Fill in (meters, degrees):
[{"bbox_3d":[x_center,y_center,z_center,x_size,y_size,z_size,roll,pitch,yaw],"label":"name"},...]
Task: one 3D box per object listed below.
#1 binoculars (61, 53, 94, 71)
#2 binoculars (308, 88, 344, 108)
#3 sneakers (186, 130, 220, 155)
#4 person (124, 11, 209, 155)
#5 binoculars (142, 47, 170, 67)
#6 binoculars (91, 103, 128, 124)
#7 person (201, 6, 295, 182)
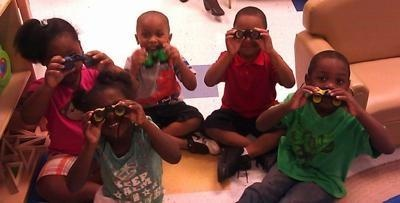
[{"bbox_3d":[-0.924,-0.295,2.108,0.223,0.122,0.057,2,-3,-23],"label":"binoculars"},{"bbox_3d":[0.959,-0.032,2.107,0.247,0.142,0.150,0,-3,14],"label":"binoculars"},{"bbox_3d":[0.029,0.400,2.533,0.384,0.115,0.159,6,-7,6],"label":"sneakers"},{"bbox_3d":[-0.282,-0.124,2.644,0.743,1.334,0.677,-8,38,-11],"label":"person"},{"bbox_3d":[-0.383,-0.376,2.378,0.194,0.158,0.099,1,-3,-10],"label":"binoculars"},{"bbox_3d":[-0.618,0.080,1.868,0.187,0.049,0.126,-12,32,-18],"label":"binoculars"},{"bbox_3d":[0.409,-0.085,2.856,1.056,1.437,1.083,3,4,9],"label":"person"}]
